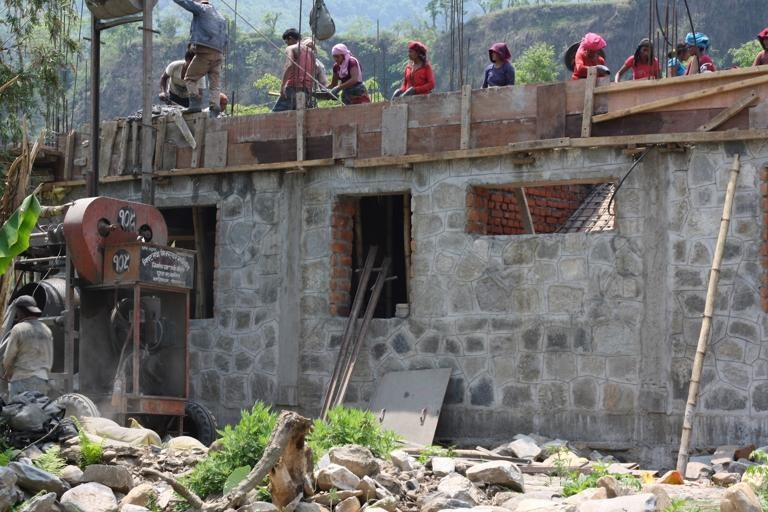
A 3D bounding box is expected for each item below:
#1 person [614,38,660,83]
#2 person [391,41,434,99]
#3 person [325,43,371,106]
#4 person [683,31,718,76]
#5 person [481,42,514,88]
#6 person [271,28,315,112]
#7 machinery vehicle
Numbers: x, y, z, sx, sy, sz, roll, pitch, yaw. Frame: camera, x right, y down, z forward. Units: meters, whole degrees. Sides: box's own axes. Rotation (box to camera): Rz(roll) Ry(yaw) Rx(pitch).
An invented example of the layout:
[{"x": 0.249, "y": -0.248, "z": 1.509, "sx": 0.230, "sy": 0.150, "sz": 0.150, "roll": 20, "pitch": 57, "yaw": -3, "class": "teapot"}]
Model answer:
[{"x": 4.845, "y": -3.726, "z": 29.263, "sx": 0.805, "sy": 0.956, "sz": 1.414, "roll": 2, "pitch": -6, "yaw": 10, "class": "person"}, {"x": 0.620, "y": -3.450, "z": 29.717, "sx": 0.623, "sy": 1.434, "sz": 0.655, "roll": 11, "pitch": 25, "yaw": 19, "class": "person"}, {"x": -0.691, "y": -3.644, "z": 30.656, "sx": 0.800, "sy": 1.392, "sz": 1.058, "roll": 3, "pitch": -6, "yaw": -3, "class": "person"}, {"x": 5.970, "y": -3.893, "z": 29.023, "sx": 0.492, "sy": 0.878, "sz": 0.658, "roll": 3, "pitch": -6, "yaw": 2, "class": "person"}, {"x": 2.168, "y": -3.656, "z": 29.092, "sx": 0.573, "sy": 1.078, "sz": 0.958, "roll": 3, "pitch": -6, "yaw": 3, "class": "person"}, {"x": -1.735, "y": -3.732, "z": 30.559, "sx": 0.850, "sy": 1.868, "sz": 1.251, "roll": 5, "pitch": -6, "yaw": -18, "class": "person"}, {"x": -4.897, "y": 1.100, "z": 27.893, "sx": 3.331, "sy": 4.225, "sz": 2.365, "roll": 4, "pitch": -5, "yaw": -8, "class": "machinery vehicle"}]
